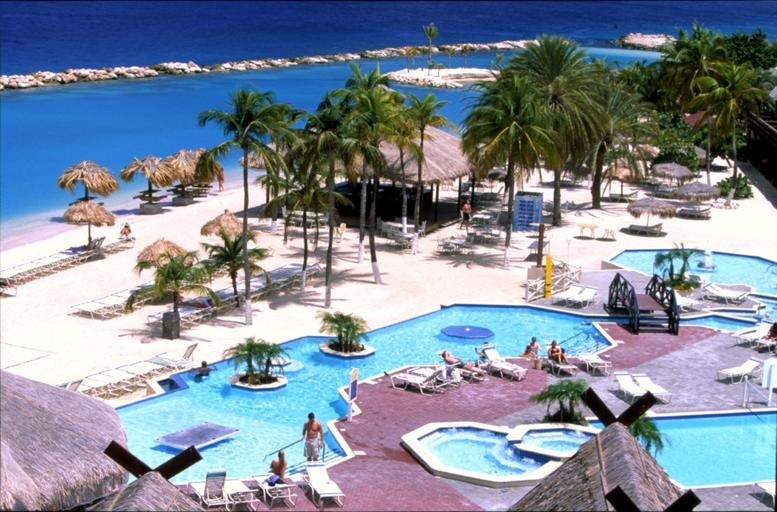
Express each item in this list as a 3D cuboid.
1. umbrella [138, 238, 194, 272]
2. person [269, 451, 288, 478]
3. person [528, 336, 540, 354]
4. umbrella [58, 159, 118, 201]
[{"bbox_3d":[-9.828,-0.076,27.972,2.227,1.323,2.091,-2,-1,8],"label":"umbrella"},{"bbox_3d":[-2.782,5.215,16.415,0.361,0.815,0.297,-7,17,-16],"label":"person"},{"bbox_3d":[5.232,3.255,23.824,0.481,0.768,0.419,3,39,13],"label":"person"},{"bbox_3d":[-17.681,-4.047,38.236,3.193,2.075,2.952,-3,19,-18],"label":"umbrella"}]
